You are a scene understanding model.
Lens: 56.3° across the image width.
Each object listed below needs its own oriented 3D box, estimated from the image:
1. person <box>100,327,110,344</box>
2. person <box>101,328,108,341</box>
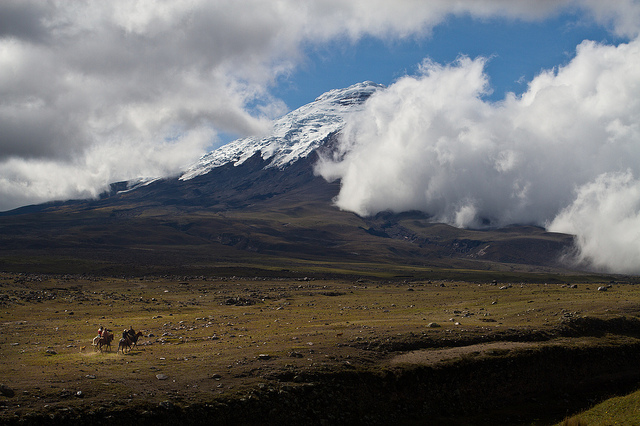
[{"bbox_3d":[-28.000,16.168,78.229,0.886,1.986,1.214,5,-2,-33],"label":"person"},{"bbox_3d":[-28.062,15.957,78.279,0.802,1.518,1.150,5,-1,-21],"label":"person"}]
